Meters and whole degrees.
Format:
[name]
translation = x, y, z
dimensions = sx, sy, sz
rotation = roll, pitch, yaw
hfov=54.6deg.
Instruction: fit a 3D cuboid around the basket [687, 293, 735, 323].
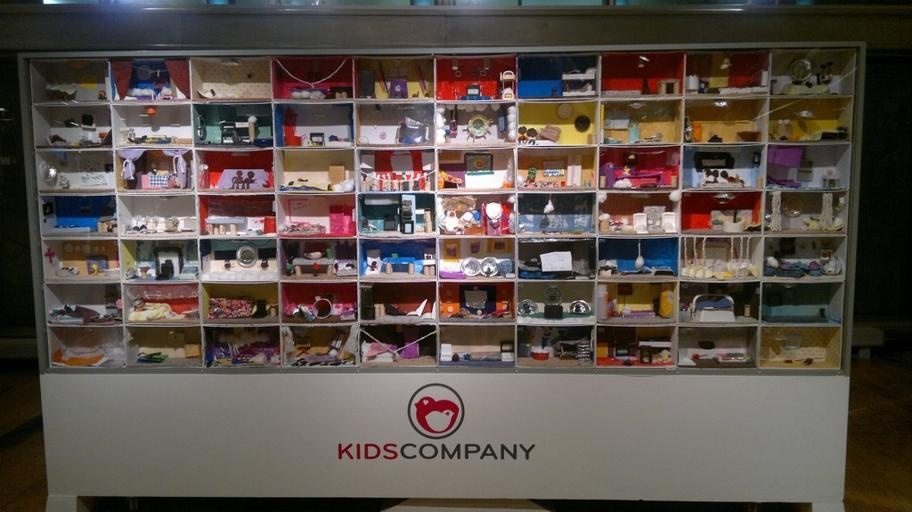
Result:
[basket]
translation = 3.395, 0.708, 11.694
dimensions = 0.474, 0.253, 0.441
rotation = 0, 4, 6
